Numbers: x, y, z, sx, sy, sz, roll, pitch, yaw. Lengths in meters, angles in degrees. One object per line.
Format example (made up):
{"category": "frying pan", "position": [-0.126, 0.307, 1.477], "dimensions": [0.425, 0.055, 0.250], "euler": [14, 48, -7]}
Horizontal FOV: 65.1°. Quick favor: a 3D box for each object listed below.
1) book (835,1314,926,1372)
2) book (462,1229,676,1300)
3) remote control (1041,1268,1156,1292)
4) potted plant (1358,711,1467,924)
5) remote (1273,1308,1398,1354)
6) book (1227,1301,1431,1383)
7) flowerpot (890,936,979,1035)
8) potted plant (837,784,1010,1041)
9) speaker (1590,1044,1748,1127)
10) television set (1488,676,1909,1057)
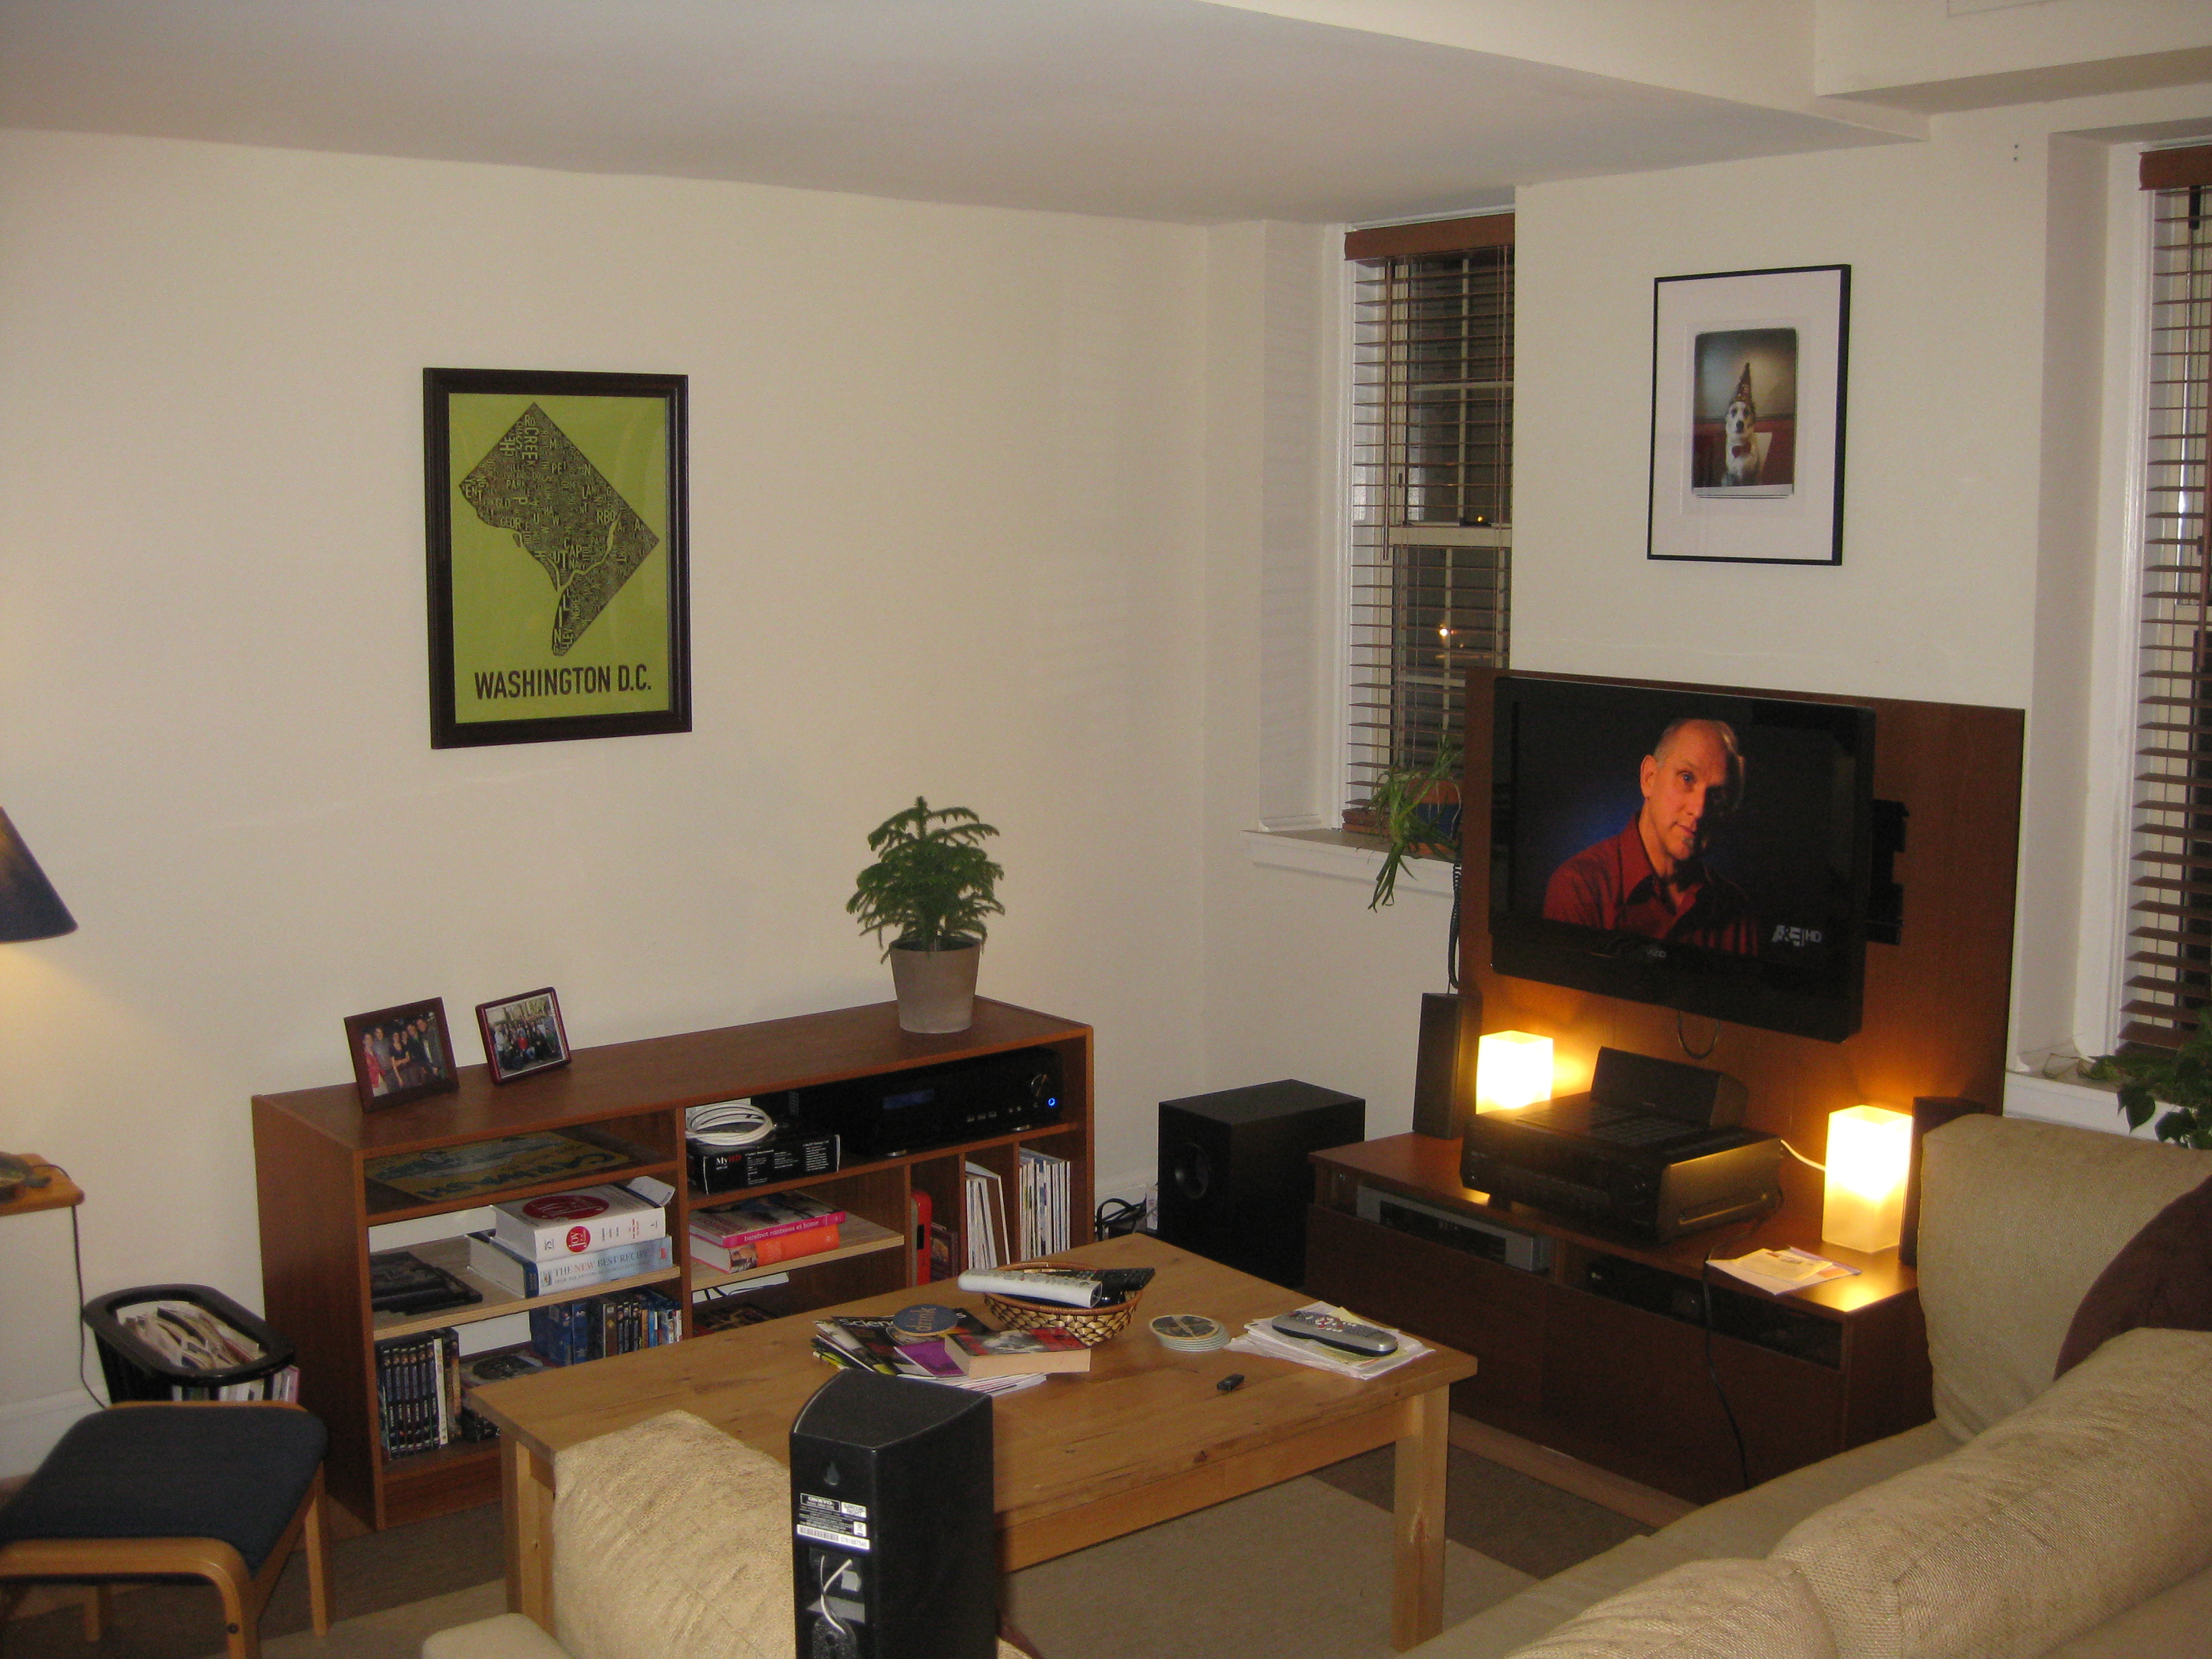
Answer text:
{"category": "book", "position": [-0.440, 0.981, 3.396], "dimensions": [0.061, 0.062, 0.228], "euler": [-4, 11, -34]}
{"category": "book", "position": [-1.267, 1.044, 4.144], "dimensions": [0.219, 0.053, 0.216], "euler": [-4, 8, -39]}
{"category": "remote control", "position": [-0.017, 0.910, 3.504], "dimensions": [0.131, 0.027, 0.087], "euler": [-3, -3, 28]}
{"category": "potted plant", "position": [0.931, -0.042, 5.102], "dimensions": [0.285, 0.486, 0.276], "euler": [19, -7, -37]}
{"category": "remote", "position": [0.464, 1.005, 3.472], "dimensions": [0.140, 0.023, 0.085], "euler": [9, 7, 42]}
{"category": "book", "position": [0.437, 1.035, 3.489], "dimensions": [0.266, 0.058, 0.262], "euler": [-4, 8, -42]}
{"category": "flowerpot", "position": [-0.456, 0.425, 4.718], "dimensions": [0.218, 0.190, 0.243], "euler": [0, 2, -2]}
{"category": "potted plant", "position": [-0.536, 0.212, 4.954], "dimensions": [0.419, 0.640, 0.645], "euler": [-5, 10, -10]}
{"category": "speaker", "position": [1.367, 0.624, 4.271], "dimensions": [0.348, 0.144, 0.136], "euler": [9, 6, 41]}
{"category": "television set", "position": [1.438, 0.078, 4.285], "dimensions": [0.157, 0.841, 1.078], "euler": [-9, 13, -42]}
